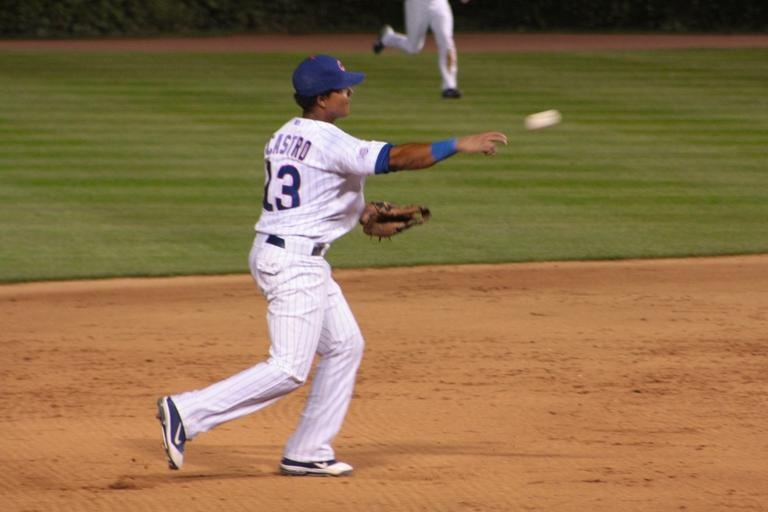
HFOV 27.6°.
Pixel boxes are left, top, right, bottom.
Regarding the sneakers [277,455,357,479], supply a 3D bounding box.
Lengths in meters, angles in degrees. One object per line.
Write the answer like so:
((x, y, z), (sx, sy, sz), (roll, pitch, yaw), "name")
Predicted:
((-0.738, 2.239, 16.542), (0.768, 0.206, 0.235), (0, 0, -4), "sneakers")

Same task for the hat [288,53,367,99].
((-0.663, -1.957, 16.464), (0.848, 0.276, 0.438), (-11, 33, -14), "hat")

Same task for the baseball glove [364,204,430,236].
((0.061, -0.385, 16.775), (0.665, 0.140, 0.345), (-2, 36, 23), "baseball glove")

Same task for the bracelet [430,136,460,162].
((0.589, -1.098, 16.164), (0.364, 0.151, 0.308), (-5, 8, 10), "bracelet")
